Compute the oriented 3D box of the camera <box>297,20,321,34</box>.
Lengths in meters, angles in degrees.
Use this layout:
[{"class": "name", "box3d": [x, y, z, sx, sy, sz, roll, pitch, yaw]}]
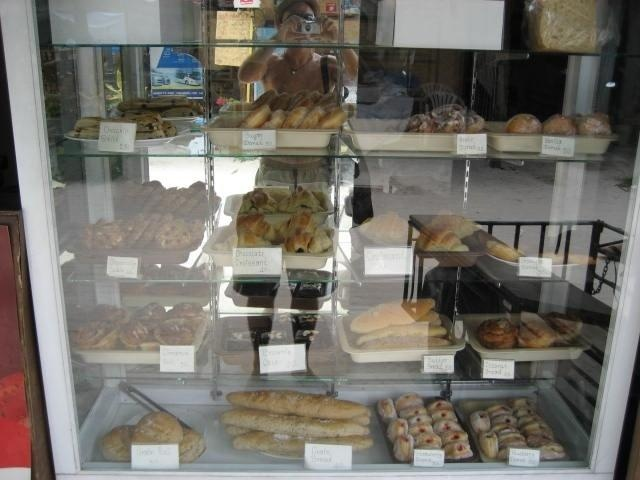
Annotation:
[{"class": "camera", "box3d": [-0.036, -0.762, 1.869, 0.084, 0.053, 0.047, 0, 19, -1]}]
